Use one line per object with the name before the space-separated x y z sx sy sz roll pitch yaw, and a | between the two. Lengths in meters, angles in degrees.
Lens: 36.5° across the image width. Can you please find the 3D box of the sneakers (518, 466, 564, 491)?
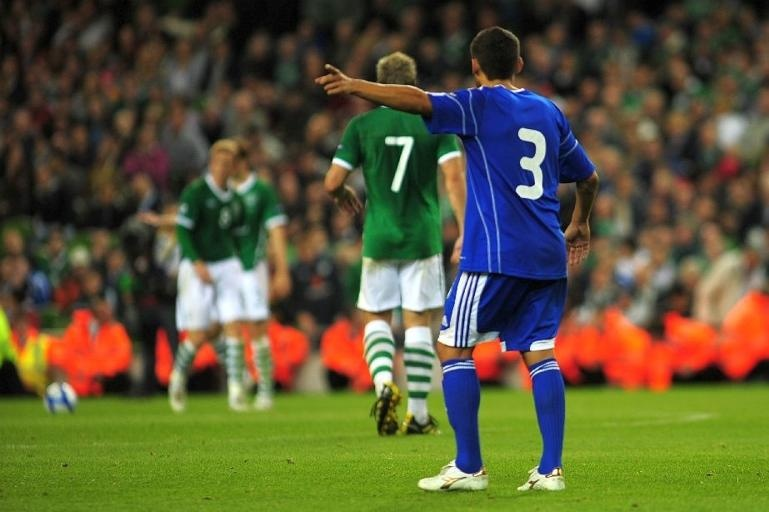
sneakers | 1.439 2.008 10.616 0.461 0.235 0.181 -6 -13 18

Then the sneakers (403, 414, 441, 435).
sneakers | 0.377 1.833 12.717 0.462 0.225 0.165 1 -3 -13
